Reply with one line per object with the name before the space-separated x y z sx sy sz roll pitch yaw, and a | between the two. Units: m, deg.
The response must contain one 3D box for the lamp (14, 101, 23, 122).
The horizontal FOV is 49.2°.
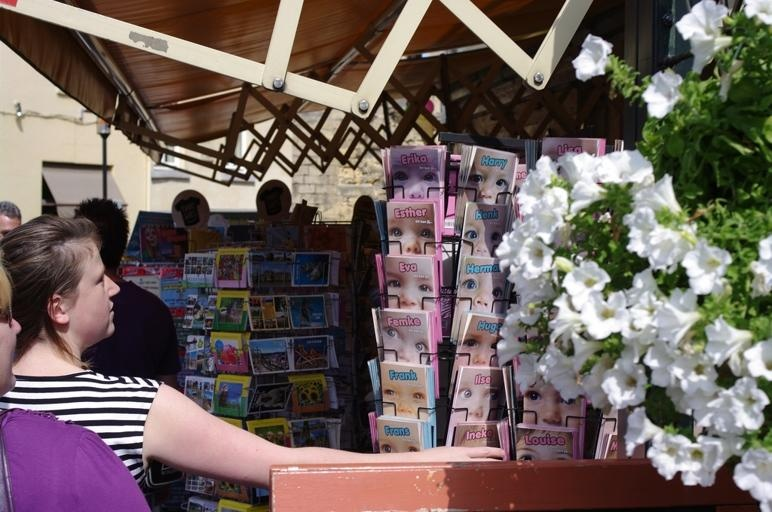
lamp | -8.316 -3.270 19.099 0.207 0.319 0.088 -2 4 -13
